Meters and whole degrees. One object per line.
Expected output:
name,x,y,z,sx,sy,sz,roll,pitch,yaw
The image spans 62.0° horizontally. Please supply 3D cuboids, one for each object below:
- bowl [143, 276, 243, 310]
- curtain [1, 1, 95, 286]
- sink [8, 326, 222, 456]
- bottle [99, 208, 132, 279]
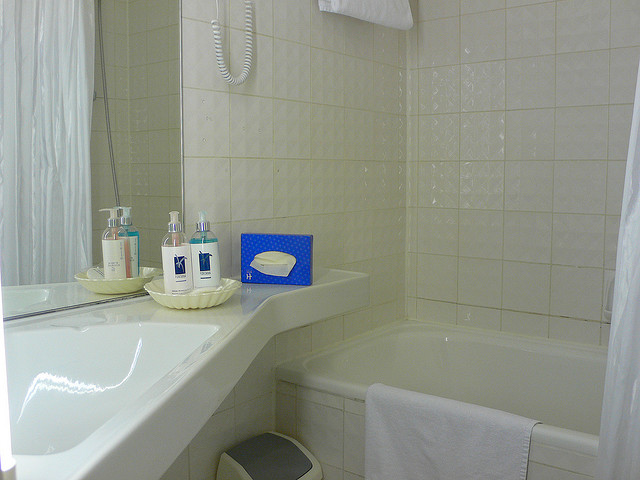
bowl,-0.418,0.163,1.757,0.308,0.090,0.271,1,7,-1
curtain,-0.815,-0.299,1.607,0.041,0.885,0.306,5,8,36
sink,-0.598,0.360,1.374,0.289,0.096,0.350,1,4,18
bottle,-0.674,0.010,1.766,0.093,0.235,0.030,-2,7,-25
